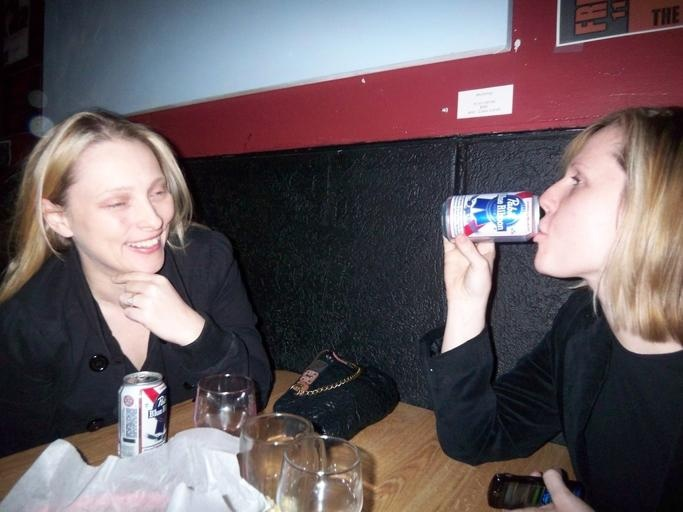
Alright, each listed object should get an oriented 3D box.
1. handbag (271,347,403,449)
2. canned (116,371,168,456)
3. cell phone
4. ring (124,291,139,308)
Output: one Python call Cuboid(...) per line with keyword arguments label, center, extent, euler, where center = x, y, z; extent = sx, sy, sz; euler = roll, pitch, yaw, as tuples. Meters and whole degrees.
Cuboid(label="handbag", center=(0.005, 0.399, 1.528), extent=(0.202, 0.112, 0.264), euler=(12, 9, 34))
Cuboid(label="canned", center=(-0.471, 0.376, 1.253), extent=(0.123, 0.180, 0.093), euler=(-7, 11, -21))
Cuboid(label="cell phone", center=(0.447, 0.552, 1.229), extent=(0.169, 0.061, 0.090), euler=(-3, 20, 6))
Cuboid(label="ring", center=(-0.594, 0.125, 1.487), extent=(0.030, 0.046, 0.045), euler=(6, -12, -12))
